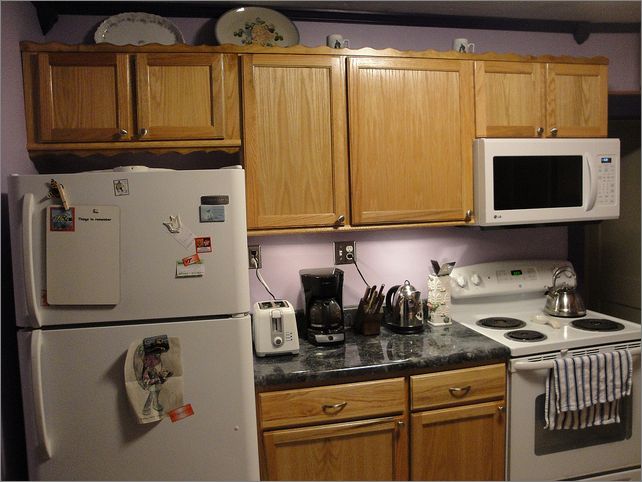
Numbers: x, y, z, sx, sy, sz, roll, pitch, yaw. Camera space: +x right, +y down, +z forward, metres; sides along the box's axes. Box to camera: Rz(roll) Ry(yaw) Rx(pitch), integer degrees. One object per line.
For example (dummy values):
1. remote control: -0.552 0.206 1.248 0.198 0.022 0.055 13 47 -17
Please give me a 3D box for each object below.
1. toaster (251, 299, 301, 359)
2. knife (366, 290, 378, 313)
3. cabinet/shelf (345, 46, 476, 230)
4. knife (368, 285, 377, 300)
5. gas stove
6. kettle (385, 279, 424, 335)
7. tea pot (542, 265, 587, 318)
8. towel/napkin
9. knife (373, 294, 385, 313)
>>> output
1. toaster: -0.236 0.462 2.826 0.230 0.209 0.325 0 2 -11
2. knife: 0.287 0.343 3.084 0.039 0.146 0.037 11 -12 -3
3. cabinet/shelf: 0.322 -0.544 3.347 0.934 1.233 0.818 -1 2 -16
4. knife: 0.296 0.300 3.159 0.061 0.115 0.066 1 3 14
5. gas stove: 1.230 0.408 3.174 0.810 0.341 0.586 -3 4 -20
6. kettle: 0.479 0.379 3.244 0.274 0.300 0.240 1 5 39
7. tea pot: 1.502 0.309 3.385 0.233 0.285 0.260 -3 5 17
8. towel/napkin: 1.395 0.772 2.888 0.447 0.357 0.086 -3 1 -14
9. knife: 0.328 0.356 3.091 0.038 0.145 0.043 16 0 12
